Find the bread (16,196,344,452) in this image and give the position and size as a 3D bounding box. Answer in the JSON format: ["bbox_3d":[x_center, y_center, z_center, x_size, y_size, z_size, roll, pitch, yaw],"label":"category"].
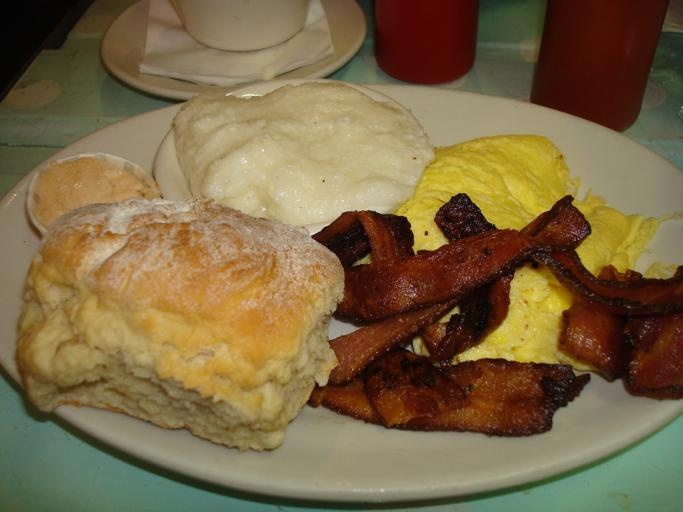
[{"bbox_3d":[-0.353,0.121,1.407,0.686,0.249,0.482,9,66,7],"label":"bread"}]
